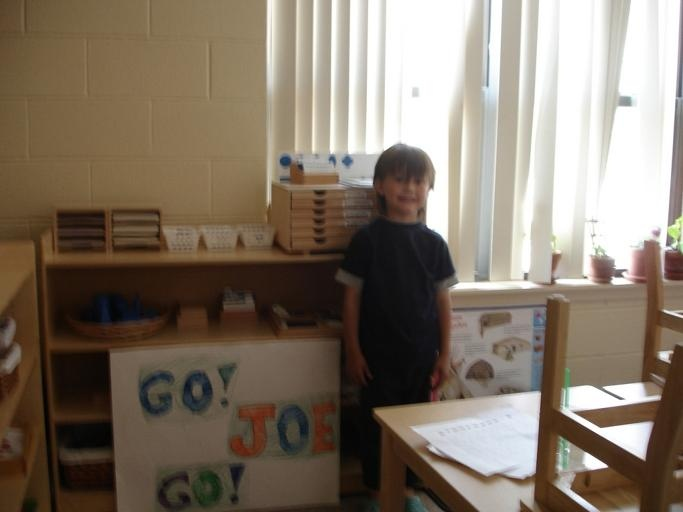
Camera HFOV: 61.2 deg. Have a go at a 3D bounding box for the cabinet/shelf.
[{"bbox_3d":[-0.721,0.548,2.553,1.073,1.211,0.414,-1,1,-9],"label":"cabinet/shelf"}]

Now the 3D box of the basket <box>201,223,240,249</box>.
[{"bbox_3d":[-0.556,-0.088,2.658,0.165,0.115,0.113,-5,9,-15],"label":"basket"}]

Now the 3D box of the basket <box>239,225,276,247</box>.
[{"bbox_3d":[-0.397,-0.105,2.694,0.125,0.069,0.101,-3,9,-19],"label":"basket"}]

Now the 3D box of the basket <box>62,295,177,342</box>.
[{"bbox_3d":[-1.012,0.261,2.640,0.433,0.183,0.337,-6,9,-22],"label":"basket"}]

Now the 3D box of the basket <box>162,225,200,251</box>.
[{"bbox_3d":[-0.708,-0.079,2.584,0.159,0.119,0.066,-6,8,-20],"label":"basket"}]

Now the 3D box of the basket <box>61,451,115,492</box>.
[{"bbox_3d":[-1.128,0.955,2.608,0.203,0.114,0.172,0,0,-13],"label":"basket"}]
